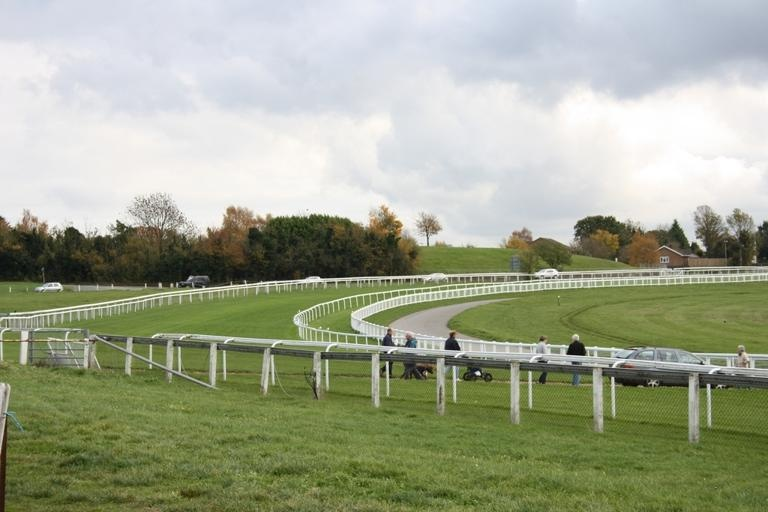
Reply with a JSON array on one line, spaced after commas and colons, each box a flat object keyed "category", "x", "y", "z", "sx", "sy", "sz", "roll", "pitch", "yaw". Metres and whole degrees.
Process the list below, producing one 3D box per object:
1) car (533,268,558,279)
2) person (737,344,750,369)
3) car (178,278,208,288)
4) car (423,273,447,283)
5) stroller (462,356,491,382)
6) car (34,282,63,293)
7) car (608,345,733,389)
[{"category": "car", "x": 14.885, "y": 1.595, "z": 99.231, "sx": 2.219, "sy": 0.861, "sz": 0.992, "roll": 3, "pitch": -4, "yaw": -18}, {"category": "person", "x": 13.559, "y": 3.812, "z": 41.264, "sx": 0.467, "sy": 0.770, "sz": 3.107, "roll": 0, "pitch": -3, "yaw": 18}, {"category": "car", "x": -17.173, "y": 2.326, "z": 98.283, "sx": 1.691, "sy": 1.040, "sz": 3.574, "roll": 0, "pitch": -3, "yaw": 13}, {"category": "car", "x": 4.501, "y": 1.941, "z": 95.189, "sx": 2.970, "sy": 0.746, "sz": 2.042, "roll": 2, "pitch": -3, "yaw": -21}, {"category": "stroller", "x": 3.751, "y": 4.618, "z": 44.392, "sx": 1.620, "sy": 1.066, "sz": 0.923, "roll": 0, "pitch": -2, "yaw": 5}, {"category": "car", "x": -28.083, "y": 2.716, "z": 90.595, "sx": 2.277, "sy": 0.917, "sz": 1.225, "roll": 4, "pitch": 2, "yaw": 4}, {"category": "car", "x": 10.745, "y": 4.529, "z": 42.070, "sx": 3.874, "sy": 1.462, "sz": 1.801, "roll": -2, "pitch": 2, "yaw": -8}]
